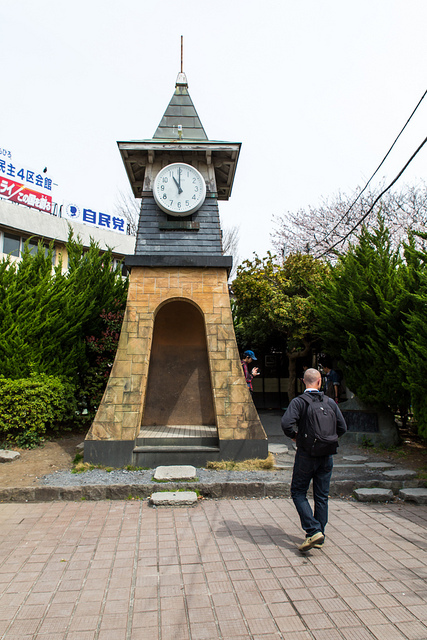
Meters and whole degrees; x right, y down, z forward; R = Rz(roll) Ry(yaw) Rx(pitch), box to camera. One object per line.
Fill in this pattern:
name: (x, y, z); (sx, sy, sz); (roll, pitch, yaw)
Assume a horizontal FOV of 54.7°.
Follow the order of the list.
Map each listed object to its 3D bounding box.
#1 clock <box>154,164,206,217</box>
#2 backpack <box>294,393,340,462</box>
clock: (-0.579, -2.414, 7.636); (0.965, 1.051, 0.149); (0, -15, -2)
backpack: (0.999, 0.982, 3.717); (0.397, 0.595, 0.308); (-1, -7, 8)
